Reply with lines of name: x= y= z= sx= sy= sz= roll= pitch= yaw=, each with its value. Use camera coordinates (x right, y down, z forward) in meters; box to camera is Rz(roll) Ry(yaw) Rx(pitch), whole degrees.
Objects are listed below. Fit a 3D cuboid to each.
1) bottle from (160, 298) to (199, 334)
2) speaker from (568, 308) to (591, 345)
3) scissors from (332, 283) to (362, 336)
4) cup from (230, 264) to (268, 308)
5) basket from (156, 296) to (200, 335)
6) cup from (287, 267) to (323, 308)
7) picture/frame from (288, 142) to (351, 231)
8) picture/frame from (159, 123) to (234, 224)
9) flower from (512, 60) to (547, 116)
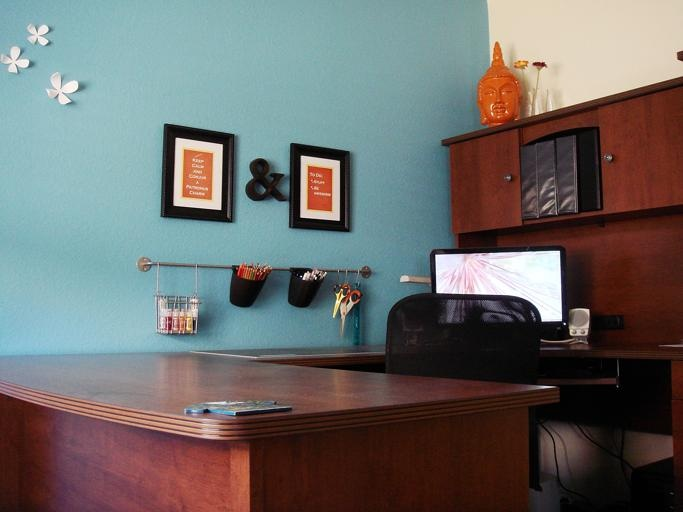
bottle: x=-0.750 y=0.273 z=2.508 sx=0.145 sy=0.145 sz=0.079 roll=4 pitch=-10 yaw=-31
speaker: x=1.260 y=0.378 z=2.910 sx=0.111 sy=0.184 sz=0.107 roll=-1 pitch=-22 yaw=24
scissors: x=0.023 y=0.293 z=2.968 sx=0.148 sy=0.272 sz=0.053 roll=8 pitch=-5 yaw=21
cup: x=-0.453 y=0.133 z=2.606 sx=0.180 sy=0.197 sz=0.196 roll=12 pitch=-5 yaw=1
basket: x=-0.773 y=0.289 z=2.558 sx=0.190 sy=0.186 sz=0.112 roll=5 pitch=-25 yaw=-27
cup: x=-0.190 y=0.158 z=2.792 sx=0.182 sy=0.196 sz=0.097 roll=-1 pitch=-4 yaw=19
picture/frame: x=-0.138 y=-0.351 z=2.925 sx=0.440 sy=0.563 sz=0.038 roll=3 pitch=-7 yaw=-29
picture/frame: x=-0.711 y=-0.376 z=2.624 sx=0.436 sy=0.599 sz=0.044 roll=5 pitch=-6 yaw=-30
flower: x=1.149 y=-1.020 z=3.348 sx=0.178 sy=0.113 sz=0.320 roll=8 pitch=-42 yaw=27
